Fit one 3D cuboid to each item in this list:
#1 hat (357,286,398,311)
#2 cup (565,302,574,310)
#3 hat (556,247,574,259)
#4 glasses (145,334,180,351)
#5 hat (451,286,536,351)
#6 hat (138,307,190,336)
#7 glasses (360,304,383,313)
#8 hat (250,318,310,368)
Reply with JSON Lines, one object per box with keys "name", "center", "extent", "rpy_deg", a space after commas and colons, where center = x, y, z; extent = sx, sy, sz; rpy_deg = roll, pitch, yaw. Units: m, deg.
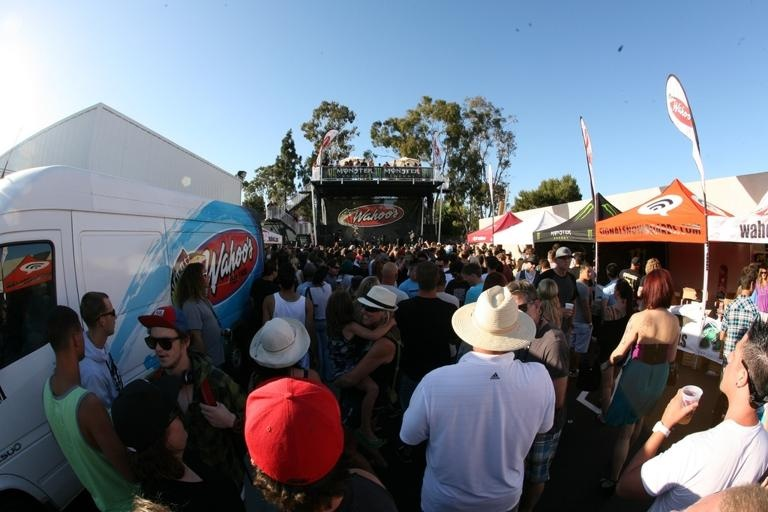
{"name": "hat", "center": [-0.052, 0.485, 4.688], "extent": [0.256, 0.140, 0.342], "rpy_deg": [21, -8, 43]}
{"name": "cup", "center": [2.724, 0.747, 6.221], "extent": [0.098, 0.082, 0.092], "rpy_deg": [11, -2, 0]}
{"name": "hat", "center": [2.689, -0.070, 6.355], "extent": [0.153, 0.131, 0.217], "rpy_deg": [3, -16, 8]}
{"name": "glasses", "center": [-1.899, 0.739, 3.581], "extent": [0.271, 0.124, 0.086], "rpy_deg": [3, 3, 4]}
{"name": "hat", "center": [1.005, 0.583, 3.794], "extent": [0.639, 0.279, 0.716], "rpy_deg": [-4, 38, 6]}
{"name": "hat", "center": [-2.219, 0.659, 4.221], "extent": [0.419, 0.235, 0.263], "rpy_deg": [32, -26, -32]}
{"name": "glasses", "center": [-0.132, 0.586, 4.688], "extent": [0.239, 0.074, 0.077], "rpy_deg": [4, 3, 16]}
{"name": "hat", "center": [-0.975, 0.810, 3.958], "extent": [0.531, 0.460, 0.372], "rpy_deg": [1, 3, -20]}
